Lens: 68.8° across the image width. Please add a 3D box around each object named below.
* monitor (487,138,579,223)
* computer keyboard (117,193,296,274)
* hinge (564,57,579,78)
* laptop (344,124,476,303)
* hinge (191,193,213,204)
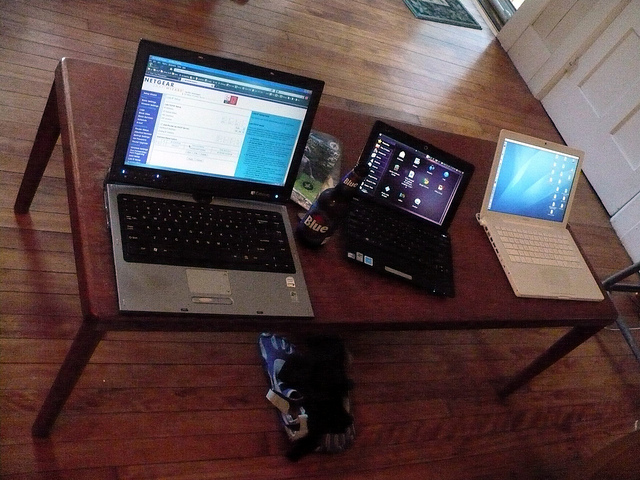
[{"bbox_3d":[0.766,-0.206,1.680,0.423,0.302,0.021,7,7,-24],"label":"monitor"},{"bbox_3d":[-0.269,-0.014,1.132,0.414,0.117,0.164,2,27,-23],"label":"computer keyboard"},{"bbox_3d":[2.011,-1.389,3.736,0.023,0.142,0.100,-5,30,-34],"label":"hinge"},{"bbox_3d":[0.261,-0.165,1.334,0.364,0.235,0.381,26,11,6],"label":"laptop"},{"bbox_3d":[-0.298,-0.106,1.182,0.040,0.026,0.028,4,49,-16],"label":"hinge"}]
